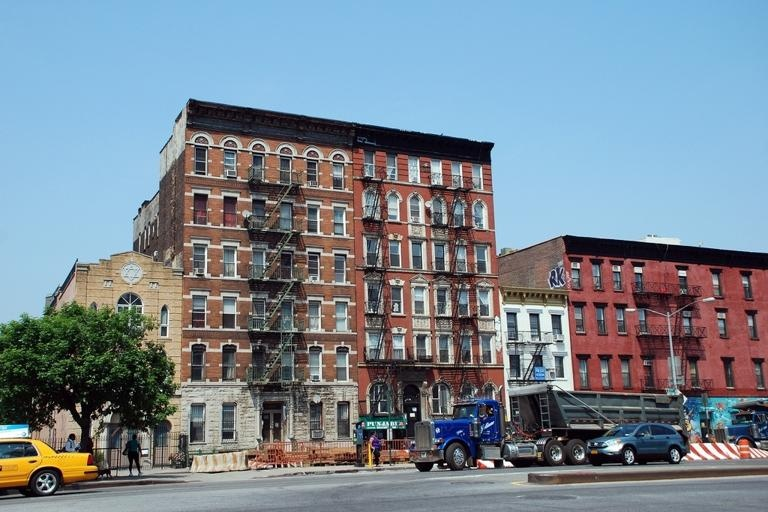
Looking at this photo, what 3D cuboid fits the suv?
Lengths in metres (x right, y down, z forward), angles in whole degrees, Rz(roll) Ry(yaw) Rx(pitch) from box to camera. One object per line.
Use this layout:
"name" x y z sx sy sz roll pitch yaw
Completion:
"suv" 14.022 10.489 51.025 5.108 1.909 2.378 9 -22 -23
